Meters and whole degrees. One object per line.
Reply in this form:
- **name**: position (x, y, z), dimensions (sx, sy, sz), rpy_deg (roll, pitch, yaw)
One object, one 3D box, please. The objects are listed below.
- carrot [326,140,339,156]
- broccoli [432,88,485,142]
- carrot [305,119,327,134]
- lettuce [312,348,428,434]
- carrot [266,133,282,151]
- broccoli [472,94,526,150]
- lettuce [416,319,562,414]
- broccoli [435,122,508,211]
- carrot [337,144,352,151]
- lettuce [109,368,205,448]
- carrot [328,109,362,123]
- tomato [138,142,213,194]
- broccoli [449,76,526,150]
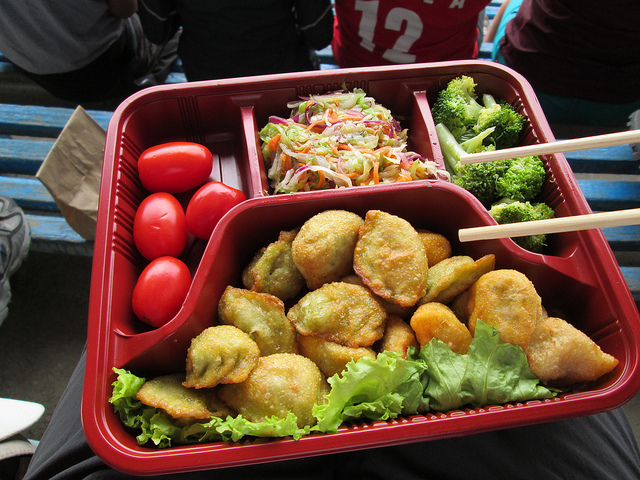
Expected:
- **carrot**: position (0.066, -0.489, 2.994), dimensions (0.026, 0.028, 0.121), rpy_deg (-36, 80, 2)
- **broccoli**: position (0.798, -0.721, 3.141), dimensions (0.249, 0.234, 0.266), rpy_deg (4, 90, 17)
- **carrot**: position (-0.031, -0.633, 3.044), dimensions (0.134, 0.030, 0.047), rpy_deg (-25, 67, -11)
- **lettuce**: position (0.213, 0.621, 2.332), dimensions (0.400, 0.148, 0.322), rpy_deg (-20, 64, 8)
- **carrot**: position (-0.253, -0.534, 3.010), dimensions (0.024, 0.091, 0.053), rpy_deg (-12, 69, -38)
- **broccoli**: position (0.982, -0.631, 3.115), dimensions (0.244, 0.163, 0.284), rpy_deg (-29, 62, -9)
- **lettuce**: position (0.685, 0.559, 2.193), dimensions (0.435, 0.190, 0.452), rpy_deg (-4, 71, 0)
- **broccoli**: position (0.826, -0.418, 3.098), dimensions (0.351, 0.226, 0.490), rpy_deg (-38, 80, 15)
- **carrot**: position (0.135, -0.500, 3.010), dimensions (0.078, 0.031, 0.040), rpy_deg (16, 66, 8)
- **lettuce**: position (-0.706, 0.766, 2.413), dimensions (0.331, 0.331, 0.123), rpy_deg (39, 96, 41)
- **carrot**: position (0.098, -0.668, 3.039), dimensions (0.173, 0.026, 0.072), rpy_deg (1, 82, 13)
- **tomato**: position (-0.752, -0.366, 2.929), dimensions (0.339, 0.250, 0.248), rpy_deg (-6, 61, -3)
- **broccoli**: position (0.903, -0.819, 3.244), dimensions (0.224, 0.369, 0.138), rpy_deg (-11, 66, -26)
